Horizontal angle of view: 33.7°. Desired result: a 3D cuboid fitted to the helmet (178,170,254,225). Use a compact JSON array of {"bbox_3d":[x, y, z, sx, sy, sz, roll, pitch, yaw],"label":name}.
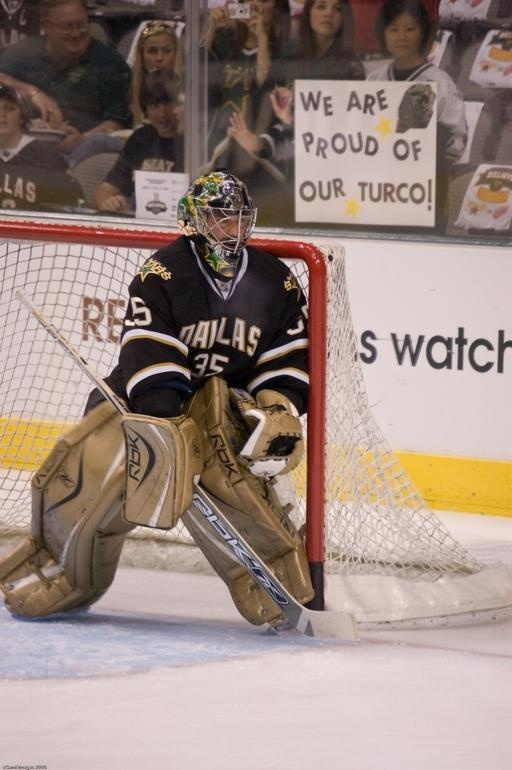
[{"bbox_3d":[-0.093,-0.435,2.026,0.164,0.125,0.127,-7,-5,38],"label":"helmet"}]
